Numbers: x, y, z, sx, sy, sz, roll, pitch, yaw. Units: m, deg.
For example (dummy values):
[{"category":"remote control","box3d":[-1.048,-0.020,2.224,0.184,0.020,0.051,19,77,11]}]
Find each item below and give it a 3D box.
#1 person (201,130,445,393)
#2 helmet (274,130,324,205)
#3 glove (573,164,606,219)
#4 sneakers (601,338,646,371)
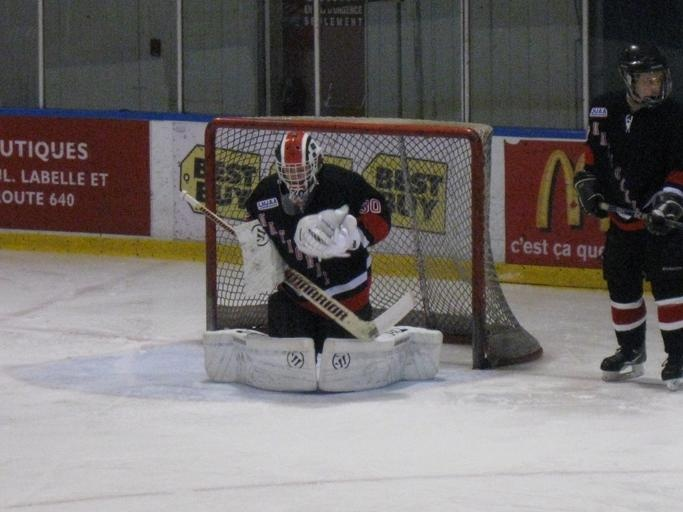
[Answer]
[{"category":"person","box3d":[-0.118,0.030,6.385,1.125,1.302,0.514,4,13,20]},{"category":"helmet","box3d":[-0.221,-0.436,6.304,0.283,0.381,0.328,-1,16,8]},{"category":"glove","box3d":[1.271,-0.330,6.435,0.147,0.240,0.058,-11,-1,-20]},{"category":"sneakers","box3d":[1.472,0.522,6.597,0.318,0.151,0.103,-8,9,-23]}]
